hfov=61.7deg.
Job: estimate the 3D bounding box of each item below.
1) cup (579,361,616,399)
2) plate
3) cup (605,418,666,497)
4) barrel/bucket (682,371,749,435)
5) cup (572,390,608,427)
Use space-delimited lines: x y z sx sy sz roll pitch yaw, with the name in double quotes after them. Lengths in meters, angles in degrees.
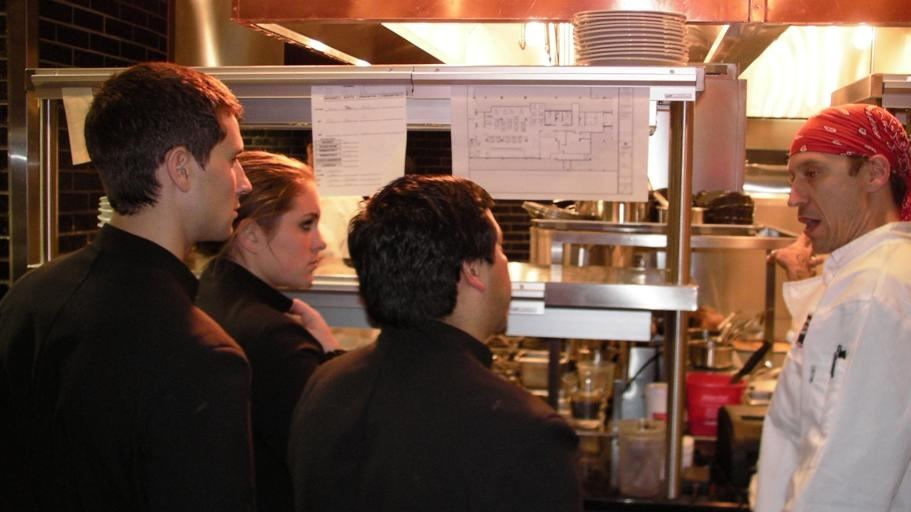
0.588 0.509 3.209 0.168 0.134 0.160 -1 3 0 "cup"
0.642 -0.774 2.851 0.301 0.105 0.281 2 11 16 "plate"
0.666 0.804 2.995 0.238 0.226 0.230 5 -14 1 "cup"
1.040 0.668 3.331 0.304 0.218 0.295 1 -9 0 "barrel/bucket"
0.549 0.627 3.185 0.158 0.134 0.151 0 -2 0 "cup"
